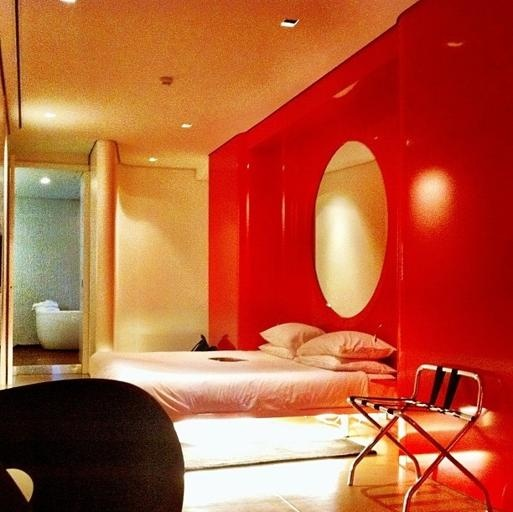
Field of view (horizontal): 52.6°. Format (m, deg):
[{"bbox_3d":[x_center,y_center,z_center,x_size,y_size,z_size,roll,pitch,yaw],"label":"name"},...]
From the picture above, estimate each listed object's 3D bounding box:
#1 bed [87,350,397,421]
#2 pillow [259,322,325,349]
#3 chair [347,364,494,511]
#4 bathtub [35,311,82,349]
[{"bbox_3d":[-0.303,0.944,4.049,2.220,0.260,1.982,3,-2,1],"label":"bed"},{"bbox_3d":[0.363,0.700,4.715,0.326,0.103,0.291,-1,4,-17],"label":"pillow"},{"bbox_3d":[0.821,0.941,2.806,0.556,0.695,0.801,3,-5,-16],"label":"chair"},{"bbox_3d":[-3.242,1.220,8.615,1.009,0.547,0.624,1,-5,-9],"label":"bathtub"}]
